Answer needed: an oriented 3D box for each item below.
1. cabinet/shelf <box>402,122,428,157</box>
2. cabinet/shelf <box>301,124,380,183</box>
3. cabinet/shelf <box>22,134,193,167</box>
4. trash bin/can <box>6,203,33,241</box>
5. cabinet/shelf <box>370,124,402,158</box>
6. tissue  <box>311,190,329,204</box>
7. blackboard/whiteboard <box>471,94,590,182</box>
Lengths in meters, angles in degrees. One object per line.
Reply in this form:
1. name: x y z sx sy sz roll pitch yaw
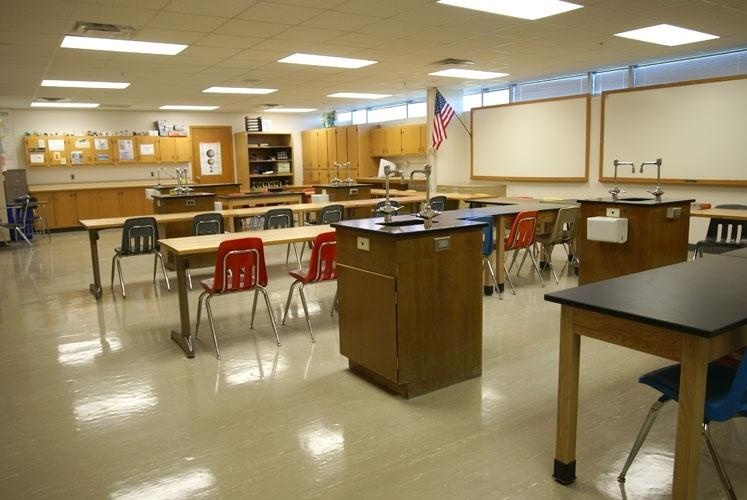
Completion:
1. cabinet/shelf: 1.073 -2.944 12.977 0.236 0.793 1.163 -9 11 -25
2. cabinet/shelf: -0.969 -3.015 15.220 0.960 2.370 2.817 -2 3 -39
3. cabinet/shelf: -7.476 -2.867 13.808 3.954 0.866 0.255 -9 12 -29
4. trash bin/can: -8.383 -0.660 11.613 0.555 0.889 1.998 -11 12 -34
5. cabinet/shelf: 0.312 -3.162 14.055 0.359 0.935 1.620 -9 11 -22
6. tissue : -1.011 -1.056 9.859 0.391 0.231 0.377 -2 3 -43
7. blackboard/whiteboard: 3.527 -2.466 10.761 0.086 1.349 2.393 -4 6 -40
